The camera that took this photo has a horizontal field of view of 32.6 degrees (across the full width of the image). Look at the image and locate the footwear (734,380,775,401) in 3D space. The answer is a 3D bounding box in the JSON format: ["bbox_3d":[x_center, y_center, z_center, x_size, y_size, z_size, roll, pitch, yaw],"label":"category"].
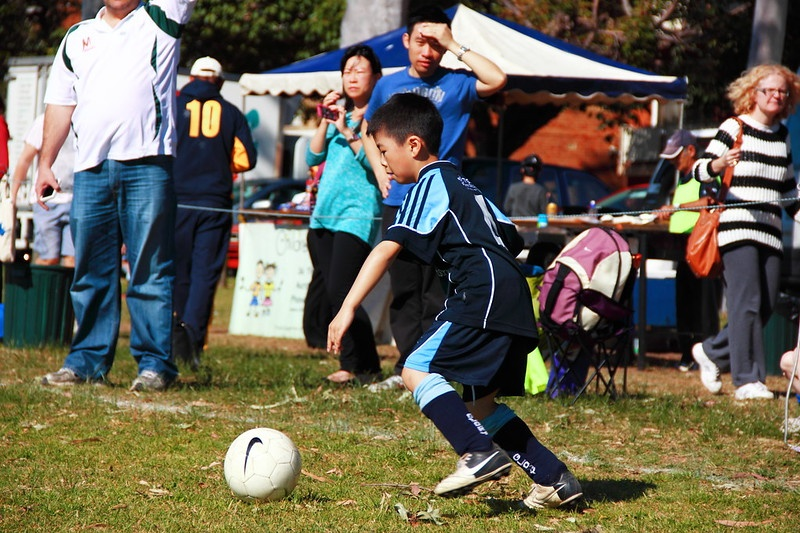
[{"bbox_3d":[3.433,1.193,13.213,0.357,0.195,0.164,0,-6,12],"label":"footwear"}]

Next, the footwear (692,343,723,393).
[{"bbox_3d":[3.110,1.045,13.815,0.219,0.599,0.223,-15,6,25],"label":"footwear"}]

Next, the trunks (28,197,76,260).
[{"bbox_3d":[-3.891,-0.424,15.437,0.619,1.007,0.503,-1,9,-11],"label":"trunks"}]

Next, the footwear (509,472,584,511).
[{"bbox_3d":[1.190,1.808,11.068,0.553,0.285,0.206,-15,5,14],"label":"footwear"}]

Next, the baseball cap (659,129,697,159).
[{"bbox_3d":[2.999,-1.322,14.761,0.375,0.190,0.236,-40,26,-18],"label":"baseball cap"}]

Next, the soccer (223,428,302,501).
[{"bbox_3d":[-1.082,1.587,11.145,0.502,0.586,0.556,-6,3,12],"label":"soccer"}]

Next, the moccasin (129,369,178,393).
[{"bbox_3d":[-2.316,1.091,12.859,0.402,0.202,0.164,11,-11,-26],"label":"moccasin"}]

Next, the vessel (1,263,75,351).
[{"bbox_3d":[-3.884,0.442,15.024,0.759,1.005,0.900,0,-4,15],"label":"vessel"}]

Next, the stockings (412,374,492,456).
[{"bbox_3d":[0.414,1.161,11.049,0.704,0.404,0.273,42,6,8],"label":"stockings"}]

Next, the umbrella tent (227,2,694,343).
[{"bbox_3d":[1.278,-1.380,17.432,4.000,3.692,4.185,1,5,32],"label":"umbrella tent"}]

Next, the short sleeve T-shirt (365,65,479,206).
[{"bbox_3d":[0.174,-1.163,11.964,1.137,1.393,0.716,2,5,17],"label":"short sleeve T-shirt"}]

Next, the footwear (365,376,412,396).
[{"bbox_3d":[-0.119,1.134,13.202,0.478,0.246,0.173,5,-10,-22],"label":"footwear"}]
